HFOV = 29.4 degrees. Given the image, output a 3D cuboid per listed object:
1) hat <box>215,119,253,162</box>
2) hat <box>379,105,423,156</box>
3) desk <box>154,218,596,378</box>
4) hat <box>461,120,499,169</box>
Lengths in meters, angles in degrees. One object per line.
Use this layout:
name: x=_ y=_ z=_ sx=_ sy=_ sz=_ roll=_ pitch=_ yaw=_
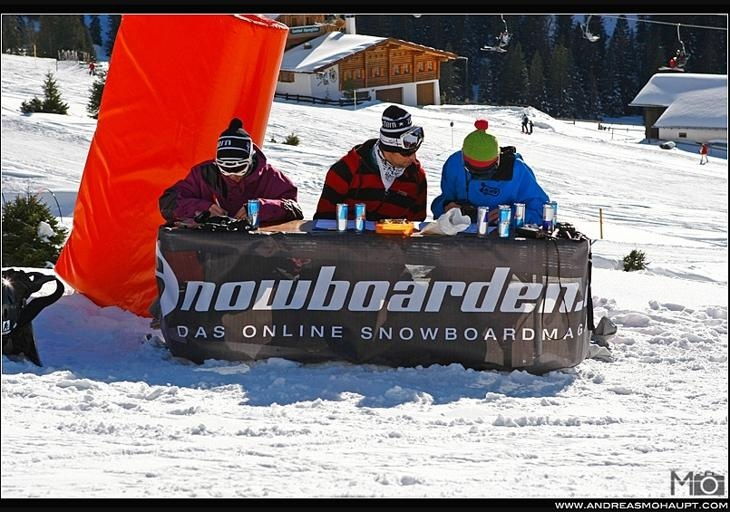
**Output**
hat: x=-2.386 y=-2.118 z=25.429 sx=0.608 sy=0.808 sz=0.921 roll=0 pitch=0 yaw=-2
hat: x=0.647 y=-2.352 z=25.689 sx=0.825 sy=0.810 sz=0.645 roll=16 pitch=35 yaw=39
desk: x=0.103 y=0.384 z=25.858 sx=7.848 sy=2.716 sz=2.576 roll=1 pitch=23 yaw=-2
hat: x=2.115 y=-2.077 z=25.612 sx=0.696 sy=0.901 sz=0.960 roll=5 pitch=13 yaw=18
